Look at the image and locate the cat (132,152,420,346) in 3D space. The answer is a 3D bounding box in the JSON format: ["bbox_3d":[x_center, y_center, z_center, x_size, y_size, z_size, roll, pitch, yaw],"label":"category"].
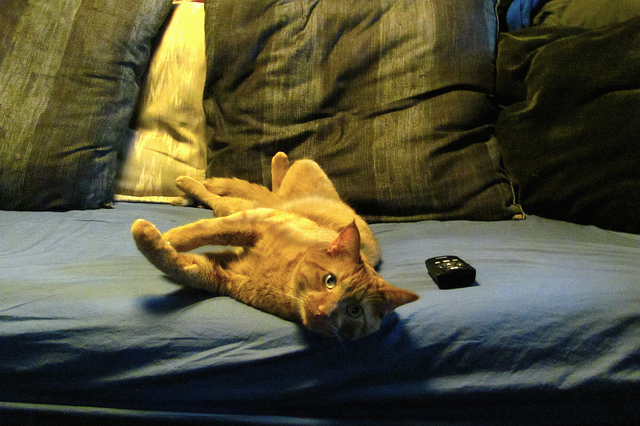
[{"bbox_3d":[-0.096,0.070,1.849,0.750,0.498,0.613,0,7,4],"label":"cat"}]

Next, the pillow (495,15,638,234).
[{"bbox_3d":[0.844,-0.316,2.016,0.682,0.629,0.199,-7,-12,30],"label":"pillow"}]

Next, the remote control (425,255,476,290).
[{"bbox_3d":[0.380,0.171,1.764,0.117,0.057,0.174,-9,10,-4],"label":"remote control"}]
